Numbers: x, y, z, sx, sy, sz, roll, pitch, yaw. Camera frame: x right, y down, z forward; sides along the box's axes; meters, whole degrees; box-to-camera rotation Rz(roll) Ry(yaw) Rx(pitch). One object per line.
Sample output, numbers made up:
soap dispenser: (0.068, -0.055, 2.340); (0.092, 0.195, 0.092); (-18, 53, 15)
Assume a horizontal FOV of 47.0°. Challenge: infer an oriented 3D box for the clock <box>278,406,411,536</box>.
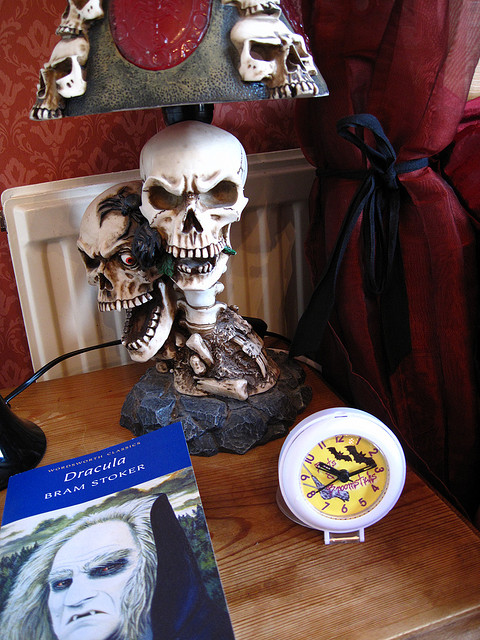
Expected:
clock: (0.109, 0.164, 0.577); (0.151, 0.137, 0.046); (0, 9, 2)
